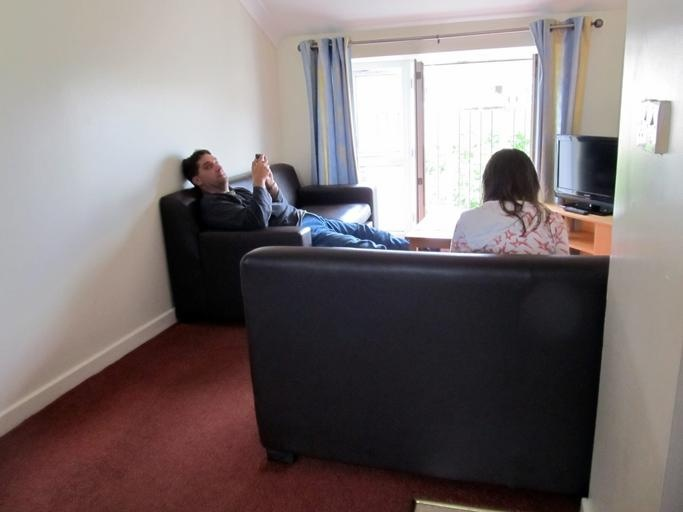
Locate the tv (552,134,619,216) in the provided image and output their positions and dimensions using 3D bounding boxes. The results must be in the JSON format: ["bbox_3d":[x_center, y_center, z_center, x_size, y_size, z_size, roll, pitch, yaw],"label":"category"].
[{"bbox_3d":[1.947,-0.637,3.966,0.193,0.607,0.786,-6,14,-6],"label":"tv"}]

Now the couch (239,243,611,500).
[{"bbox_3d":[0.318,0.357,2.079,1.251,0.938,0.740,3,16,7],"label":"couch"}]
